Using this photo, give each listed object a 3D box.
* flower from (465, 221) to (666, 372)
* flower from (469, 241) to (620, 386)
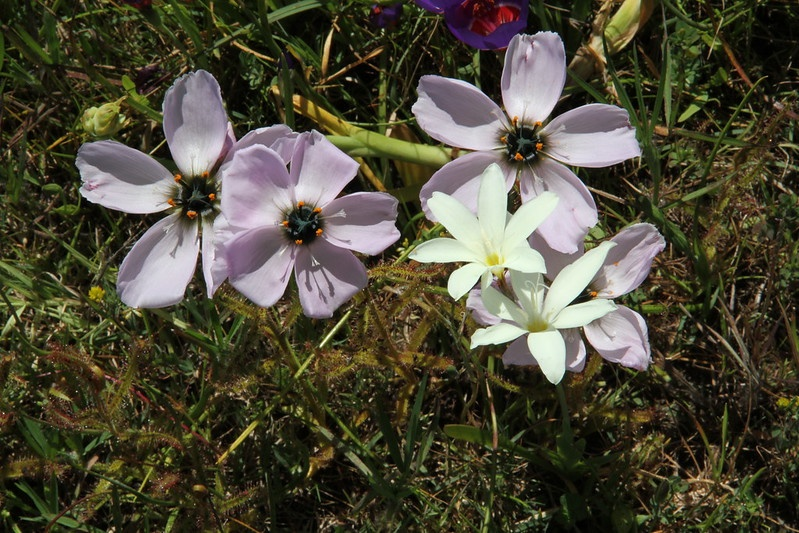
[{"bbox_3d":[0.635,0.193,3.288,0.816,0.728,0.275,-31,53,27],"label":"flower"},{"bbox_3d":[0.599,0.237,2.854,0.560,0.585,0.444,-31,114,-45],"label":"flower"}]
